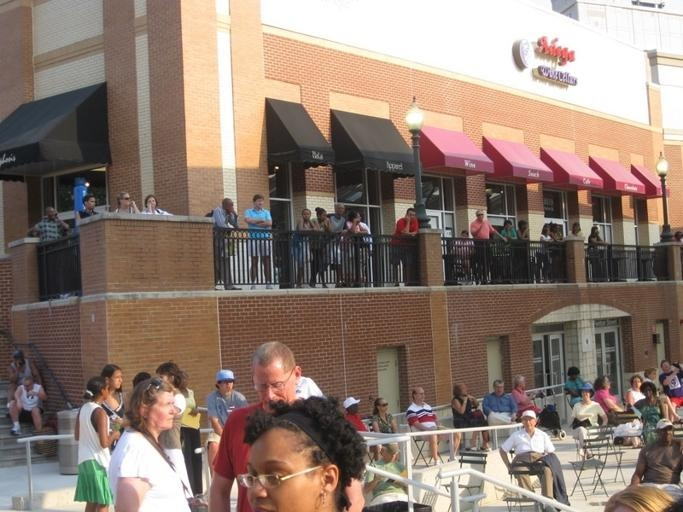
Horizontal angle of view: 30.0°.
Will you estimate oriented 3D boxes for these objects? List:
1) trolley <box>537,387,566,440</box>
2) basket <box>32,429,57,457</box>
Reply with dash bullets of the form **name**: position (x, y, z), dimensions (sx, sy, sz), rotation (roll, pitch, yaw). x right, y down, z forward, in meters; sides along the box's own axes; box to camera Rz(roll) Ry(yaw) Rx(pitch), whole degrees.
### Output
- **trolley**: position (5.919, 4.463, 36.107), dimensions (0.871, 1.429, 1.000), rotation (-7, -3, 28)
- **basket**: position (-7.269, 4.572, 31.724), dimensions (0.502, 0.770, 0.743), rotation (-3, -4, 38)
